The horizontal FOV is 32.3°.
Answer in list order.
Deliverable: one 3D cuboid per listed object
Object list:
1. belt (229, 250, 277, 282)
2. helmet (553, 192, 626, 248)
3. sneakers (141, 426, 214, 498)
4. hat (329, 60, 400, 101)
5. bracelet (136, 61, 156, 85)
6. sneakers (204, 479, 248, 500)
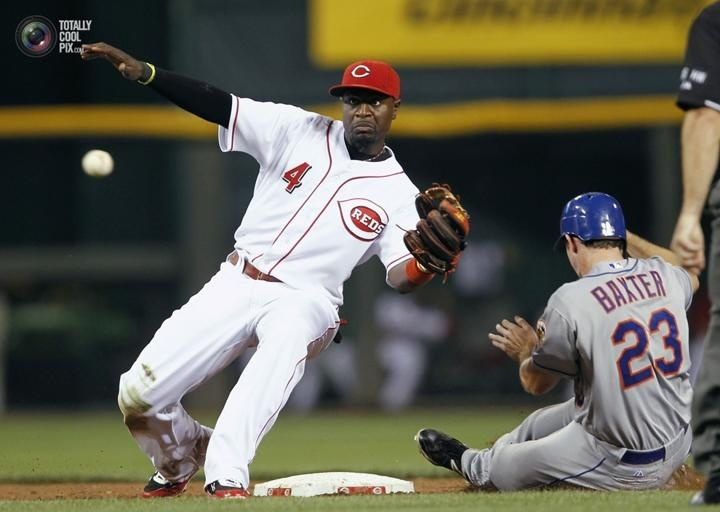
[{"bbox_3d":[-0.807,0.093,9.141,0.304,0.076,0.221,27,-1,3],"label":"belt"},{"bbox_3d":[1.686,-0.270,9.020,0.413,0.392,0.526,-8,0,-24],"label":"helmet"},{"bbox_3d":[-1.349,1.516,9.175,0.244,0.530,0.182,33,-3,-40],"label":"sneakers"},{"bbox_3d":[0.057,-1.340,9.405,0.443,0.279,0.616,3,0,28],"label":"hat"},{"bbox_3d":[-1.567,-1.334,9.208,0.128,0.137,0.176,21,-36,-14],"label":"bracelet"},{"bbox_3d":[-0.948,1.623,8.602,0.299,0.113,0.108,-2,0,22],"label":"sneakers"}]
